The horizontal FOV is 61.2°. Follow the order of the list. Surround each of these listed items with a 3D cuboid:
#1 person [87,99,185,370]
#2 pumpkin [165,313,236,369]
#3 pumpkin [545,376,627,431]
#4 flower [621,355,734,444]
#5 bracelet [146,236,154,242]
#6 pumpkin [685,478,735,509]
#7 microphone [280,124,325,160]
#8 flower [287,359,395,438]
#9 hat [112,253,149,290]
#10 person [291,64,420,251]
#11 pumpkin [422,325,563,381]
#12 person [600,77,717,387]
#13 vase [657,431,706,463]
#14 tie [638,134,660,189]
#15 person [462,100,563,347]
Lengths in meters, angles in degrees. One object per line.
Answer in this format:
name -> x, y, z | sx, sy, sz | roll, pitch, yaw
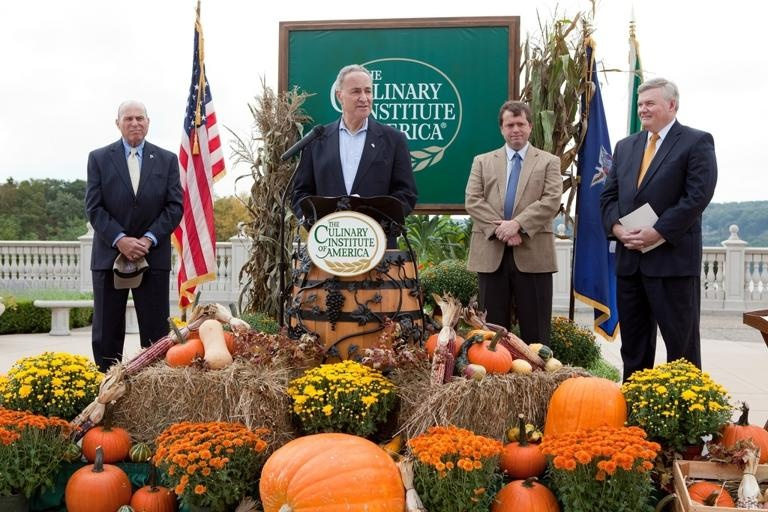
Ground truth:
person -> -2.085, -0.032, 5.451 | 0.764, 1.962, 0.518 | -1, 2, -27
pumpkin -> -1.188, 0.563, 4.174 | 0.425, 0.288, 0.363 | -1, 2, -22
pumpkin -> 1.207, 0.900, 3.914 | 0.351, 0.442, 0.373 | 3, -12, 41
flower -> 1.800, 0.921, 3.888 | 0.438, 0.327, 0.411 | 0, 1, 18
bracelet -> -1.929, -0.142, 5.335 | 0.044, 0.011, 0.044 | 46, -7, 20
pumpkin -> 1.807, 1.314, 3.589 | 0.273, 0.093, 0.197 | -1, 2, -31
microphone -> -0.637, -0.866, 4.888 | 0.256, 0.240, 0.331 | -2, 2, -36
flower -> -0.258, 0.865, 3.922 | 0.481, 0.297, 0.515 | 4, -4, -15
hat -> -2.074, 0.128, 5.299 | 0.268, 0.297, 0.221 | -1, 2, -23
person -> -0.218, -0.819, 4.768 | 0.923, 1.072, 0.464 | 0, 2, -10
pumpkin -> 0.766, 0.625, 4.124 | 0.525, 0.248, 0.398 | -1, 2, -8
person -> 2.161, -0.206, 5.125 | 0.831, 2.374, 0.422 | 1, 2, 24
vase -> 1.750, 1.103, 3.788 | 0.205, 0.153, 0.212 | -1, -9, 3
tie -> 2.124, -0.798, 5.199 | 0.088, 0.663, 0.045 | 5, -32, 30
person -> 1.089, -0.130, 5.510 | 0.799, 1.749, 0.460 | 0, 2, 14
